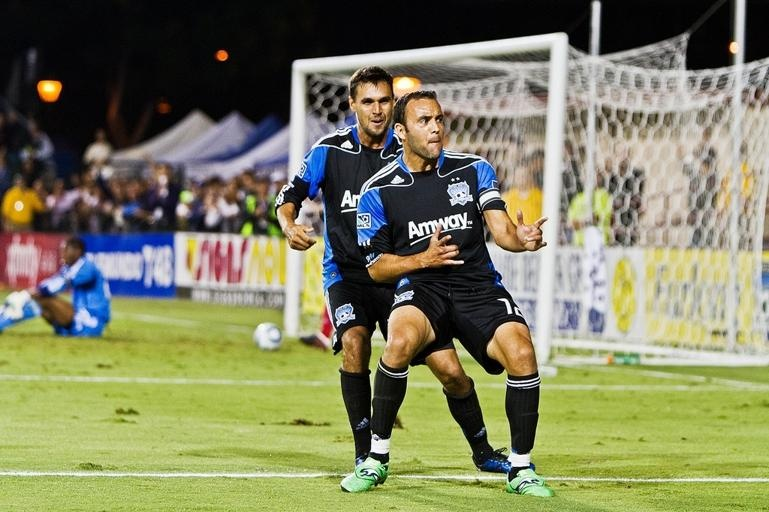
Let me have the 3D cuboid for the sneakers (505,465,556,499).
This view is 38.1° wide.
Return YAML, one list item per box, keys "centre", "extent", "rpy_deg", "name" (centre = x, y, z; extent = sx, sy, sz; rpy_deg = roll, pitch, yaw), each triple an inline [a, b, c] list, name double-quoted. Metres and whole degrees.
- centre: [1.151, 1.768, 8.717]
  extent: [0.191, 0.153, 0.344]
  rpy_deg: [-2, 1, -41]
  name: "sneakers"

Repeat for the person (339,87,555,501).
- centre: [0.512, 0.258, 8.974]
  extent: [1.538, 3.088, 1.088]
  rpy_deg: [3, 11, 0]
  name: "person"

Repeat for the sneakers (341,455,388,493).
- centre: [-0.148, 1.738, 8.851]
  extent: [0.377, 0.167, 0.185]
  rpy_deg: [-17, 27, -31]
  name: "sneakers"

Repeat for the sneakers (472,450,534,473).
- centre: [1.002, 1.702, 9.183]
  extent: [0.555, 0.242, 0.186]
  rpy_deg: [-3, -3, 20]
  name: "sneakers"
